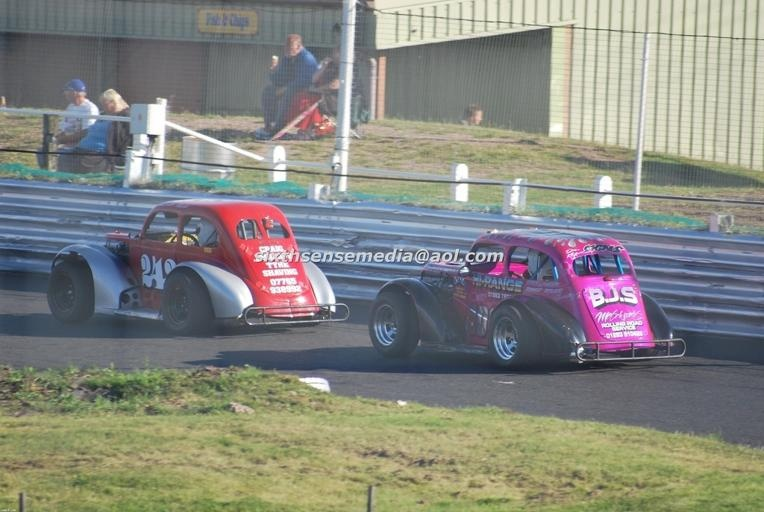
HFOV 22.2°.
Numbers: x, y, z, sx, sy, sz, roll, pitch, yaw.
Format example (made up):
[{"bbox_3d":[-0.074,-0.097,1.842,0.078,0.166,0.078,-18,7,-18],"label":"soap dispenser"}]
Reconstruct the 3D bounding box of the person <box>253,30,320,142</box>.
[{"bbox_3d":[-1.496,-2.689,31.241,0.923,1.507,0.836,1,3,-4],"label":"person"}]

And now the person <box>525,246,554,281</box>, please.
[{"bbox_3d":[2.257,0.187,27.940,0.485,0.401,0.786,3,6,4],"label":"person"}]

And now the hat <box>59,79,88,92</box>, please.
[{"bbox_3d":[-5.217,-2.844,32.847,0.324,0.149,0.217,9,16,19],"label":"hat"}]

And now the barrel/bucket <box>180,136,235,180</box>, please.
[{"bbox_3d":[-2.938,-1.603,32.305,0.885,0.743,0.798,4,6,20],"label":"barrel/bucket"}]

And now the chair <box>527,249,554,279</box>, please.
[{"bbox_3d":[2.256,0.169,27.954,0.453,0.376,0.734,4,4,4],"label":"chair"}]

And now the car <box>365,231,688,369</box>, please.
[{"bbox_3d":[1.800,0.695,27.971,3.609,1.357,2.359,3,3,44],"label":"car"}]

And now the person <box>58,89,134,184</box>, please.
[{"bbox_3d":[-4.791,-2.063,32.674,1.132,1.390,0.725,1,3,-7],"label":"person"}]
